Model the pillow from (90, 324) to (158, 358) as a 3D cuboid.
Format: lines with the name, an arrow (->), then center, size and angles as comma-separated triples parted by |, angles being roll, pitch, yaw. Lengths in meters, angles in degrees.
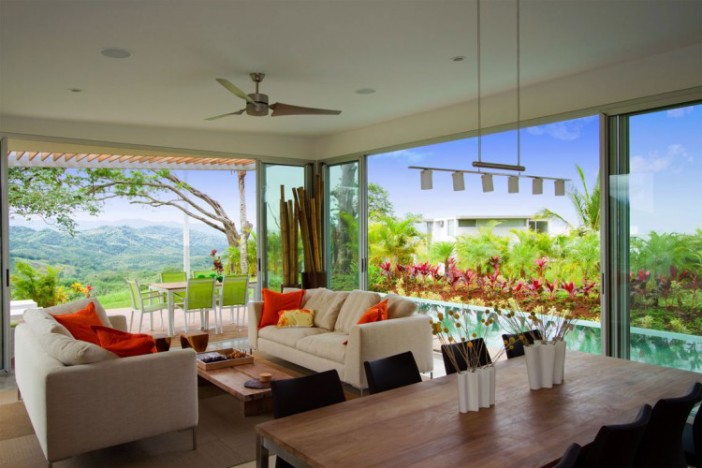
pillow -> -2.118, 1.033, 4.429 | 0.391, 0.123, 0.378 | 4, 4, -33

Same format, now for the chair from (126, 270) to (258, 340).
chair -> -3.068, 1.239, 8.772 | 1.311, 1.208, 1.319 | 5, -7, -43

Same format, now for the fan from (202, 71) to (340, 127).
fan -> -0.969, -1.666, 5.711 | 0.995, 0.464, 2.379 | -2, 4, -10

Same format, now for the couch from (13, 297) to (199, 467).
couch -> -2.355, 0.866, 4.480 | 1.214, 1.028, 2.078 | -2, 2, -35

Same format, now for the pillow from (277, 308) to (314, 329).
pillow -> -0.785, 1.192, 6.593 | 0.381, 0.109, 0.267 | -1, 36, 4

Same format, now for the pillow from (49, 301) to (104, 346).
pillow -> -2.998, 1.032, 5.132 | 0.146, 0.451, 0.480 | -37, -10, 19
